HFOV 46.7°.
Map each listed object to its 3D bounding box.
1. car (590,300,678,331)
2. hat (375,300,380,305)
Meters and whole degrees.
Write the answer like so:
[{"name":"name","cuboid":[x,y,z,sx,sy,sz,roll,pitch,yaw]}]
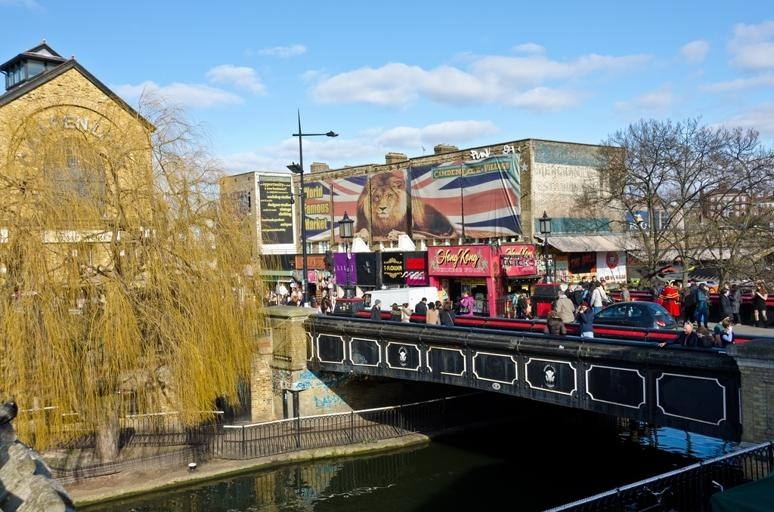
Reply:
[{"name":"car","cuboid":[8.559,2.085,31.233,2.768,0.722,1.177,-4,1,32]},{"name":"hat","cuboid":[-0.386,1.836,35.661,0.153,0.164,0.262,8,-11,5]}]
